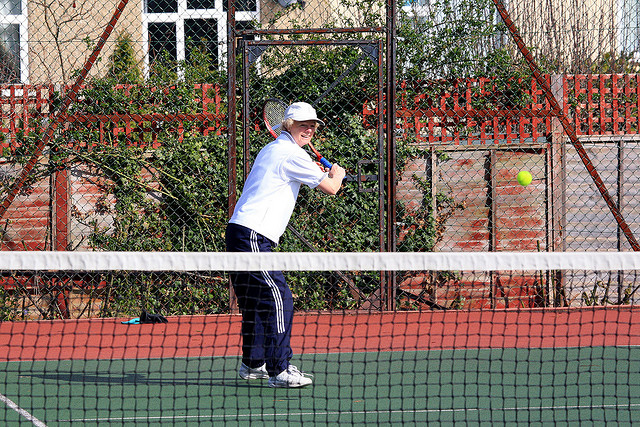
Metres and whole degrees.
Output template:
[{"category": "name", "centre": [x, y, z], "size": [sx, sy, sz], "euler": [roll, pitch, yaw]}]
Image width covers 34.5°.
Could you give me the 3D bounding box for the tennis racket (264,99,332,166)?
[{"category": "tennis racket", "centre": [-0.380, -0.946, 11.476], "size": [0.131, 0.409, 1.314], "euler": [-1, 35, -44]}]

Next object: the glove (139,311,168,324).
[{"category": "glove", "centre": [-1.940, 1.236, 12.002], "size": [0.282, 0.132, 0.218], "euler": [6, -4, -10]}]

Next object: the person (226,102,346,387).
[{"category": "person", "centre": [-0.430, 0.344, 10.574], "size": [1.040, 2.914, 0.421], "euler": [-2, 6, -7]}]

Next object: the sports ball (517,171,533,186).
[{"category": "sports ball", "centre": [2.549, -0.427, 12.839], "size": [0.170, 0.190, 0.238], "euler": [-1, 7, 11]}]
